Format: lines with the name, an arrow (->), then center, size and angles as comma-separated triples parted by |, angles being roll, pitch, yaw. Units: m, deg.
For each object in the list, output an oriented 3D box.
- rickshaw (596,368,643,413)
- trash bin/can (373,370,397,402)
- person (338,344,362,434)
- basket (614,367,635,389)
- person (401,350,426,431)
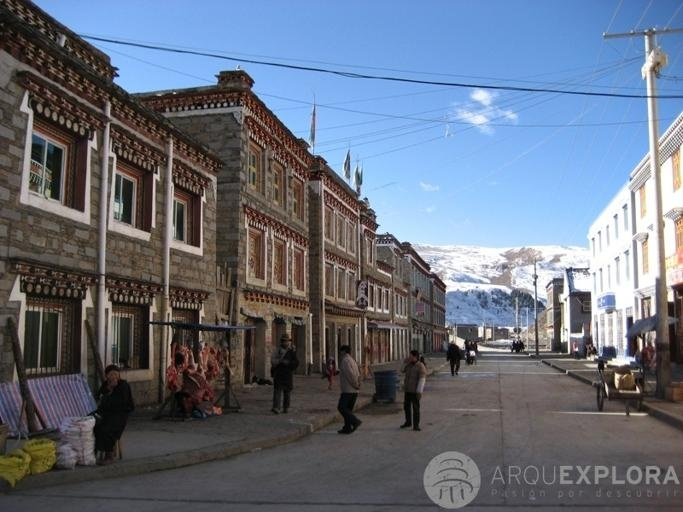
rickshaw -> 8.353, 3.872, 19.340 | 1.113, 1.710, 1.284 | -4, -3, 11
trash bin/can -> 1.598, 4.586, 23.062 | 0.898, 1.077, 0.977 | 0, -13, 4
person -> 0.181, 3.386, 16.435 | 0.845, 1.901, 0.653 | -1, -3, 31
basket -> 8.338, 3.576, 19.105 | 0.403, 0.455, 0.607 | 1, 3, 11
person -> 1.878, 3.366, 16.656 | 0.621, 2.047, 0.494 | -3, -5, 15
